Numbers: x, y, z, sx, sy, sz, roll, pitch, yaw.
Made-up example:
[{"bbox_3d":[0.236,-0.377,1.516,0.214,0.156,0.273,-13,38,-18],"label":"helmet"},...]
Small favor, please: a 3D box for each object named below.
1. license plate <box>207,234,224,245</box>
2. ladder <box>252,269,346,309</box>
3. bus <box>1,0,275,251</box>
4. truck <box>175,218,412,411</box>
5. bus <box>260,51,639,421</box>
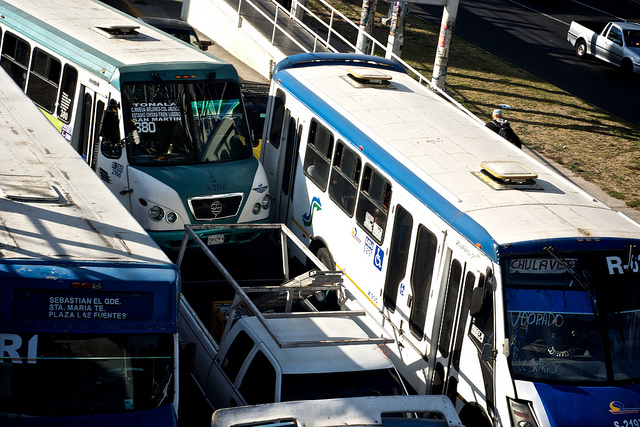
[{"bbox_3d":[-2.014,0.475,17.235,0.249,0.129,0.016,-9,34,-33],"label":"license plate"},{"bbox_3d":[-0.075,1.332,15.943,1.565,0.759,1.329,-8,3,36],"label":"ladder"},{"bbox_3d":[-3.596,-1.622,17.190,2.647,2.545,7.063,-8,34,-39],"label":"bus"},{"bbox_3d":[-0.585,1.957,15.433,2.992,2.134,4.836,-1,28,-25],"label":"truck"},{"bbox_3d":[1.864,-0.141,16.469,3.529,2.812,9.659,-3,23,-22],"label":"bus"}]
